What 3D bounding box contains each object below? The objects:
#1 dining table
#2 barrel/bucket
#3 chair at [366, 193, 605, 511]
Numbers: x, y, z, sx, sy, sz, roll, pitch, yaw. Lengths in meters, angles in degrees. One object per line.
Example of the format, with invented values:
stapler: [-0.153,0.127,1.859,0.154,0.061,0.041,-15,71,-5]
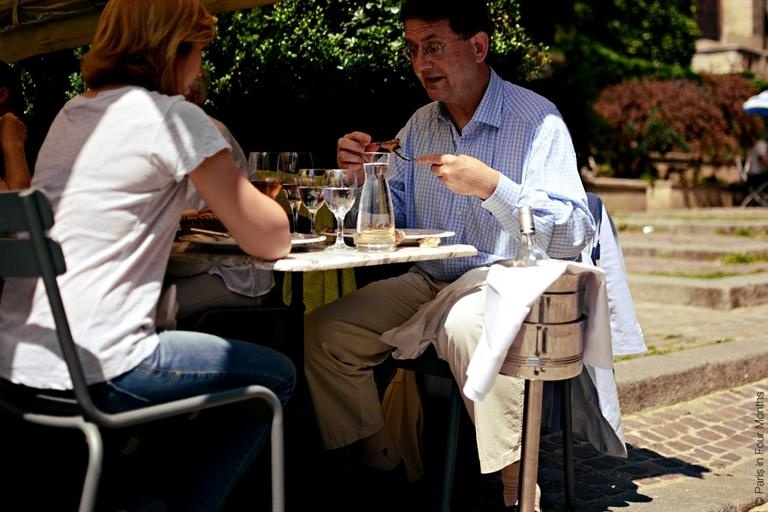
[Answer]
dining table: [-0.316,0.603,4.194,1.646,0.922,1.608,2,-2,-42]
barrel/bucket: [0.655,0.330,3.748,0.453,0.472,0.470,2,-1,0]
chair: [0.814,0.523,4.488,1.423,1.893,1.430,3,-6,-14]
